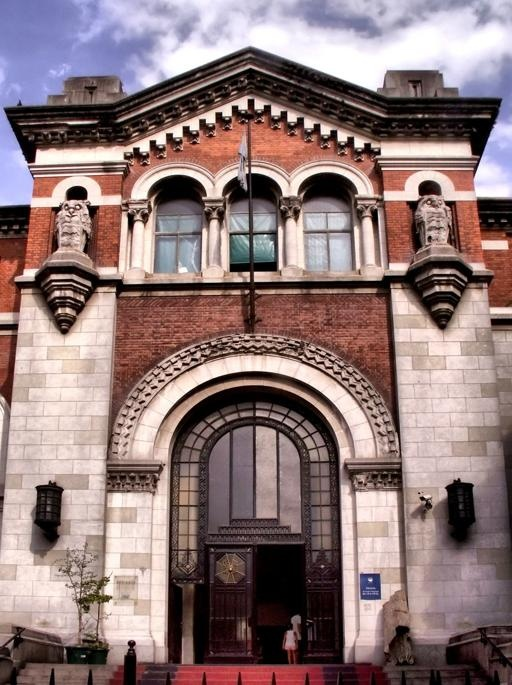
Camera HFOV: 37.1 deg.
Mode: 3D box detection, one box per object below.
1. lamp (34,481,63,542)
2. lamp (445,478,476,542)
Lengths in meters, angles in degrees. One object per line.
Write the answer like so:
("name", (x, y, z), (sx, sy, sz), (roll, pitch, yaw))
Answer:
("lamp", (-4.217, 3.396, 15.447), (0.449, 1.231, 0.634), (-4, -20, 8))
("lamp", (4.068, 3.345, 15.255), (0.508, 1.207, 0.611), (-4, -20, 10))
